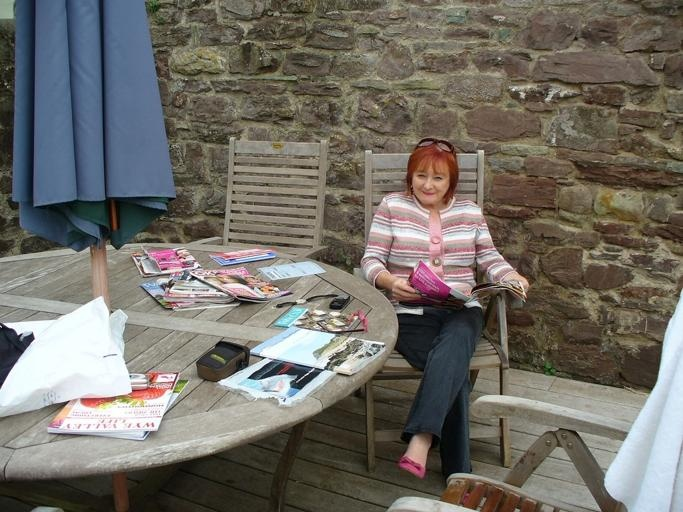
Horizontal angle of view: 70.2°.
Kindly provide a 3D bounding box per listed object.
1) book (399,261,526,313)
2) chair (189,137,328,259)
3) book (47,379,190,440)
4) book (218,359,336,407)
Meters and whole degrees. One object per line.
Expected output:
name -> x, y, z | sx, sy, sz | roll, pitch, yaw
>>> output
book -> 0.541, 0.137, 2.106 | 0.400, 0.113, 0.249 | -3, -8, -4
chair -> -0.397, -0.359, 2.982 | 0.727, 0.696, 0.505 | 7, 15, 10
book -> -0.564, 0.383, 1.233 | 0.258, 0.043, 0.206 | 3, 12, 1
book -> -0.176, 0.342, 1.352 | 0.235, 0.033, 0.199 | 11, 14, 32
